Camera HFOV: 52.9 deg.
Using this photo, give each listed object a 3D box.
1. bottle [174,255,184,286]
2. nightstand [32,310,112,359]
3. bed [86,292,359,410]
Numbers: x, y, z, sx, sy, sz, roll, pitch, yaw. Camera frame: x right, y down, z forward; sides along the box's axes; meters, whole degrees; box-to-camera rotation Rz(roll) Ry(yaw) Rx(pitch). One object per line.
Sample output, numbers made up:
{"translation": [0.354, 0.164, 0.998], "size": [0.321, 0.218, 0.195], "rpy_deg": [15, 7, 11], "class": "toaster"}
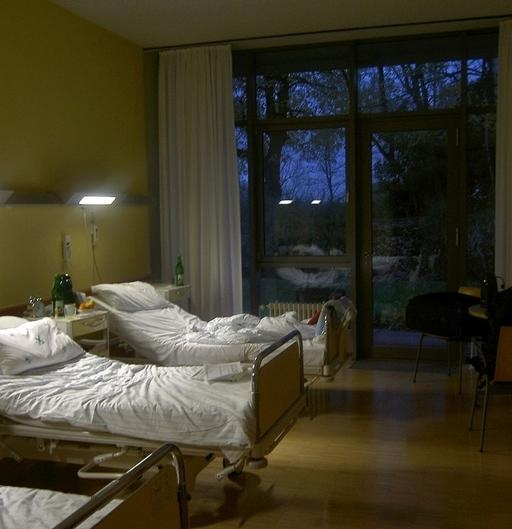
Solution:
{"translation": [-0.798, 0.069, 5.384], "size": [0.096, 0.296, 0.259], "rpy_deg": [-2, 3, -9], "class": "bottle"}
{"translation": [-1.337, 0.533, 3.836], "size": [0.327, 0.412, 0.402], "rpy_deg": [3, 9, 20], "class": "nightstand"}
{"translation": [-0.252, 0.544, 3.698], "size": [1.530, 0.688, 0.935], "rpy_deg": [-1, 7, 16], "class": "bed"}
